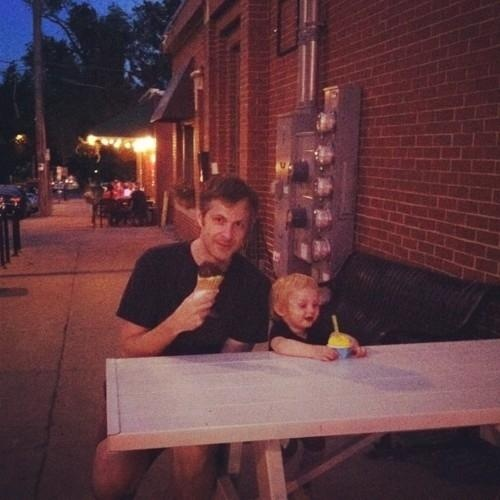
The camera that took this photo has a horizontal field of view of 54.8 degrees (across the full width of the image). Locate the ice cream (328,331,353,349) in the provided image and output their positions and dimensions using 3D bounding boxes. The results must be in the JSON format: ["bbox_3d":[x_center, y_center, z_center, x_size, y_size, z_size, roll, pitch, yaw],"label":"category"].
[{"bbox_3d":[0.418,0.419,2.253,0.067,0.060,0.082,0,-10,-1],"label":"ice cream"}]

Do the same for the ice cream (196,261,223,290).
[{"bbox_3d":[-0.169,0.104,2.028,0.090,0.127,0.110,2,-2,-4],"label":"ice cream"}]
